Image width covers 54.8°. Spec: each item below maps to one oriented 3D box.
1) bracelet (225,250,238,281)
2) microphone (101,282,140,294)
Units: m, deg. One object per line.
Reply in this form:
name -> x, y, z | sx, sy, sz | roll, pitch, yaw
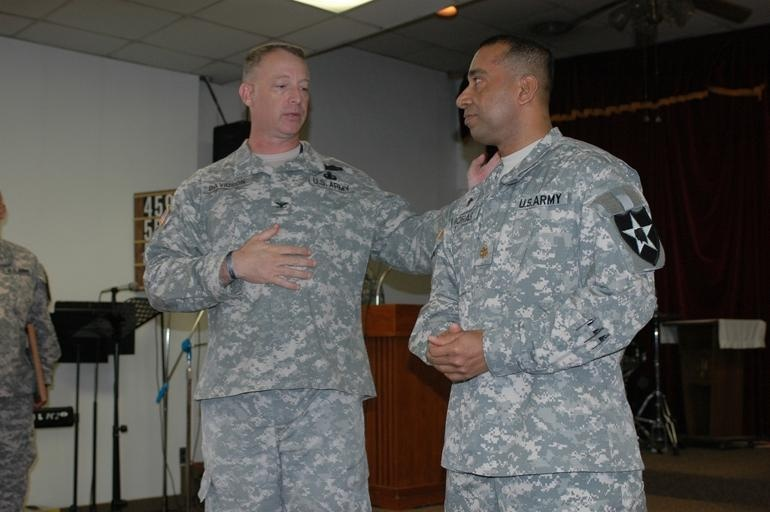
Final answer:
bracelet -> -0.697, 0.045, 3.363 | 0.045, 0.135, 0.059 | -3, -7, 7
microphone -> -2.389, 0.277, 6.631 | 0.338, 0.078, 0.085 | -6, 11, 28
